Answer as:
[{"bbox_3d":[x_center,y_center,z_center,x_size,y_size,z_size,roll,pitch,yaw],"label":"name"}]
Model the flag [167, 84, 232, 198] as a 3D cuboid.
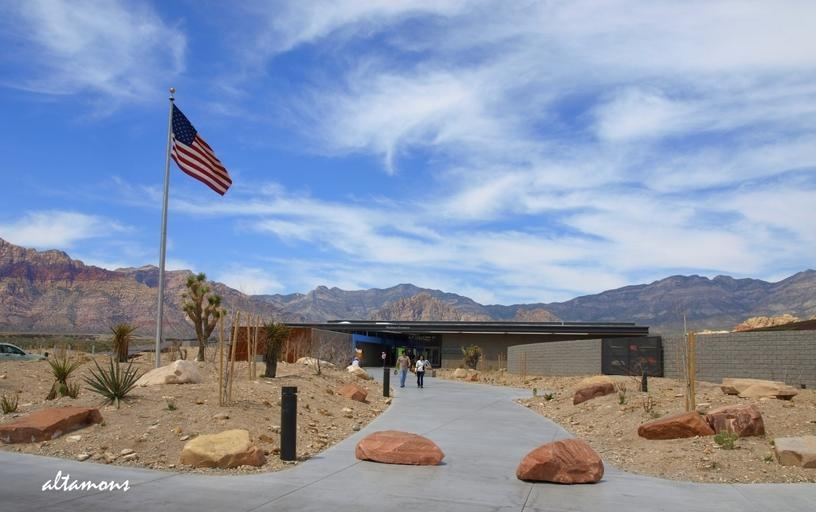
[{"bbox_3d":[-8.558,-4.521,21.929,2.758,0.587,6.811,-6,-21,-22],"label":"flag"}]
